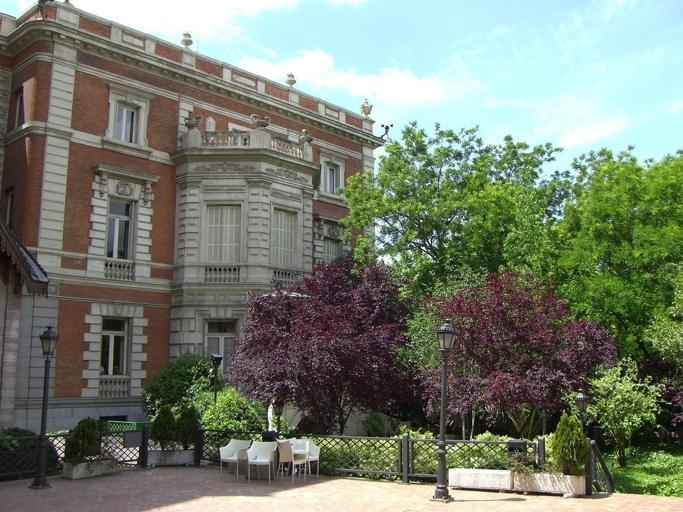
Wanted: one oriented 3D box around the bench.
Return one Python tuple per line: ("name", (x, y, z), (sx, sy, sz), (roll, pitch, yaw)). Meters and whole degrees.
("bench", (4.928, 6.330, 18.197), (3.832, 0.636, 0.665), (1, -5, 10))
